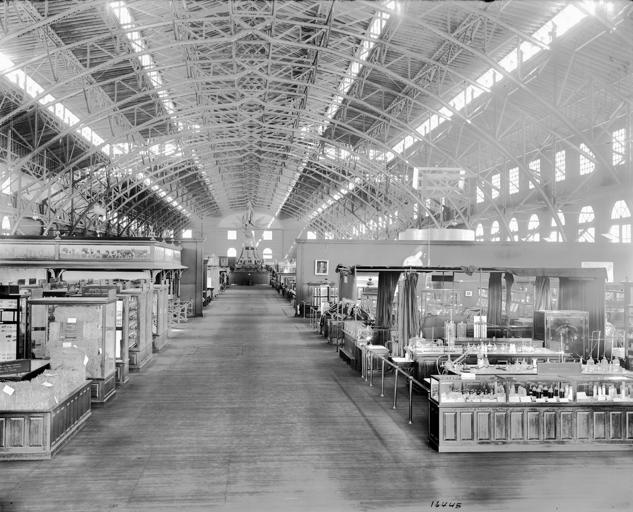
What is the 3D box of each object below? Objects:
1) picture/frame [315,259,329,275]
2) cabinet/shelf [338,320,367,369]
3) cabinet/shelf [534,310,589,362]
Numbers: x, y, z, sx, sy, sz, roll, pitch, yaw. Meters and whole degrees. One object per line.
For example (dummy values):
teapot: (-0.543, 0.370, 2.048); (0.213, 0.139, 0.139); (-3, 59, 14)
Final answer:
picture/frame: (0.237, 0.519, 34.600); (0.755, 0.875, 0.093); (1, -1, -2)
cabinet/shelf: (1.210, 2.717, 20.751); (0.824, 1.280, 2.562); (4, 1, -7)
cabinet/shelf: (6.571, 1.924, 17.348); (1.160, 1.510, 1.014); (2, 26, 29)
